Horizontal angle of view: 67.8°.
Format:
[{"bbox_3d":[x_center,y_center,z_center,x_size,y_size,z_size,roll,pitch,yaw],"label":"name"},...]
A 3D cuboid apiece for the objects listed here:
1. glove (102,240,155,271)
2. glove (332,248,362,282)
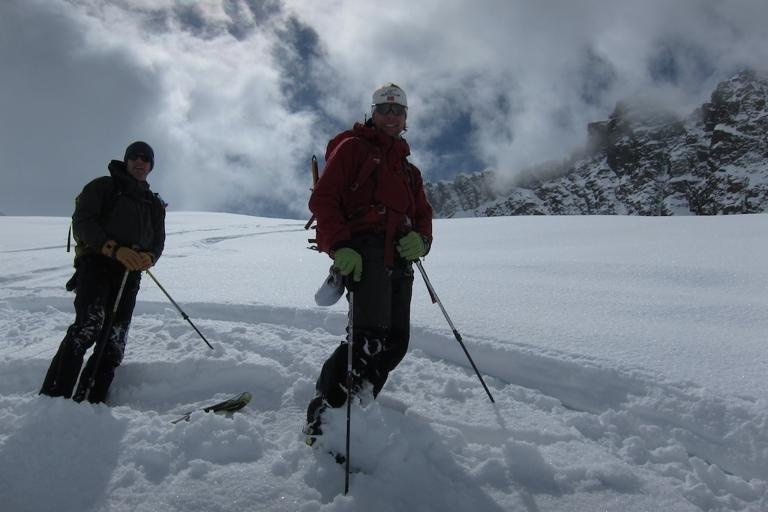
[{"bbox_3d":[-3.380,0.002,7.546,0.502,0.190,0.369,28,8,22],"label":"glove"},{"bbox_3d":[-0.436,0.102,6.878,0.355,0.414,0.186,1,5,-3],"label":"glove"}]
